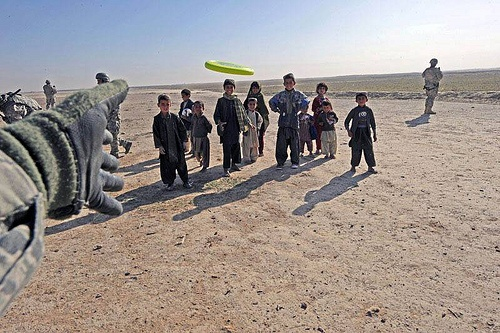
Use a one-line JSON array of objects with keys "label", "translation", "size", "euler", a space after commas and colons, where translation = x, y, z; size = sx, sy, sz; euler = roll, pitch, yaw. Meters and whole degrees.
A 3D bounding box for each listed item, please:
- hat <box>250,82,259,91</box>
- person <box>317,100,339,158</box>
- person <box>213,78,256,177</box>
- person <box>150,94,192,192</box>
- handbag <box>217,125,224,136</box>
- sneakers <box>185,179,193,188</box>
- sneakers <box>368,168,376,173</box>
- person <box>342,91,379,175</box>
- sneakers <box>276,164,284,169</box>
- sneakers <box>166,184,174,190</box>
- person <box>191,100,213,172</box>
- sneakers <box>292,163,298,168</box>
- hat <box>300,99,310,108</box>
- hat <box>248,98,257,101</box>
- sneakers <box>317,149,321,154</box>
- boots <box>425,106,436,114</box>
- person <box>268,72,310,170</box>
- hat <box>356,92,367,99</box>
[{"label": "hat", "translation": [0.116, -2.334, 10.313], "size": [0.208, 0.246, 0.284], "euler": [0, -6, -2]}, {"label": "person", "translation": [2.075, -0.999, 9.664], "size": [0.494, 1.538, 0.502], "euler": [0, 19, 9]}, {"label": "person", "translation": [-0.479, -0.989, 8.848], "size": [0.811, 2.339, 1.292], "euler": [2, 20, 14]}, {"label": "person", "translation": [-1.765, -0.532, 7.991], "size": [0.733, 2.098, 0.675], "euler": [-7, 20, -12]}, {"label": "handbag", "translation": [-0.760, -0.895, 8.827], "size": [0.217, 0.278, 0.109], "euler": [8, 22, 29]}, {"label": "sneakers", "translation": [-1.404, 0.374, 8.180], "size": [0.215, 0.205, 0.109], "euler": [-21, 24, -25]}, {"label": "sneakers", "translation": [2.865, 0.065, 8.417], "size": [0.200, 0.135, 0.170], "euler": [3, 20, 16]}, {"label": "person", "translation": [2.621, -0.801, 8.476], "size": [0.758, 1.818, 0.670], "euler": [4, 20, 19]}, {"label": "sneakers", "translation": [0.734, -0.022, 9.029], "size": [0.175, 0.111, 0.221], "euler": [-1, 19, 4]}, {"label": "sneakers", "translation": [-1.822, 0.454, 8.083], "size": [0.150, 0.154, 0.100], "euler": [1, 42, 27]}, {"label": "person", "translation": [-1.286, -0.820, 9.368], "size": [0.510, 1.751, 0.928], "euler": [-7, 19, -11]}, {"label": "sneakers", "translation": [1.119, -0.024, 9.026], "size": [0.173, 0.082, 0.208], "euler": [1, 19, 12]}, {"label": "hat", "translation": [1.399, -1.586, 9.103], "size": [0.205, 0.274, 0.281], "euler": [9, 22, 31]}, {"label": "hat", "translation": [0.048, -1.811, 9.693], "size": [0.185, 0.048, 0.190], "euler": [9, 11, 35]}, {"label": "sneakers", "translation": [1.928, -0.421, 10.195], "size": [0.135, 0.106, 0.175], "euler": [-4, 22, 5]}, {"label": "boots", "translation": [7.593, -2.376, 15.150], "size": [0.431, 0.300, 0.513], "euler": [6, 21, 24]}, {"label": "person", "translation": [0.966, -1.136, 8.989], "size": [0.966, 2.222, 0.857], "euler": [-2, 19, 4]}, {"label": "hat", "translation": [2.586, -1.651, 8.349], "size": [0.232, 0.137, 0.215], "euler": [3, 20, 15]}]
